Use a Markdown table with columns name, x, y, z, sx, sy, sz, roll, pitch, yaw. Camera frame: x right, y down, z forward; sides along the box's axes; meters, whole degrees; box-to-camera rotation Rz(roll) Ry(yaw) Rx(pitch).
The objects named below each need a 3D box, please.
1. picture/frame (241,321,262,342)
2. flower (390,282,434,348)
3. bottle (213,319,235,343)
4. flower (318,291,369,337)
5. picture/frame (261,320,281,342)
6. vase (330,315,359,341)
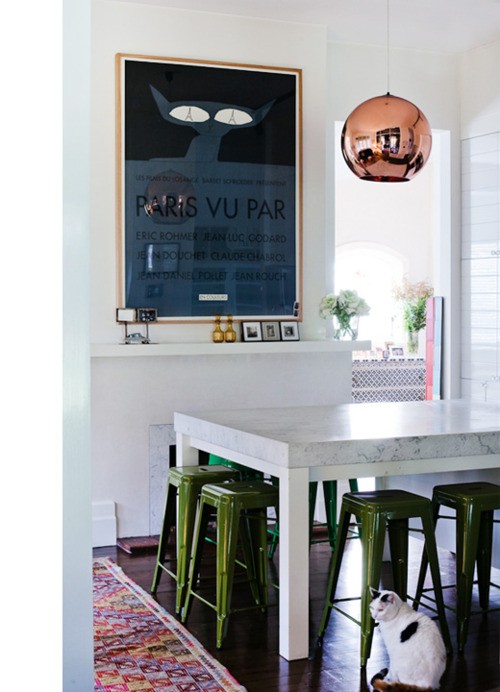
| name | x | y | z | sx | sy | sz | roll | pitch | yaw |
| --- | --- | --- | --- | --- | --- | --- | --- | --- | --- |
| picture/frame | 0.011 | -0.100 | 4.573 | 0.149 | 0.157 | 0.012 | 1 | -7 | -18 |
| flower | 2.474 | -0.462 | 9.454 | 0.457 | 1.097 | 0.853 | 0 | -3 | 6 |
| bottle | -0.191 | -0.101 | 4.486 | 0.173 | 0.176 | 0.088 | 0 | -1 | -27 |
| flower | 0.715 | -0.225 | 4.787 | 0.347 | 0.360 | 0.358 | 0 | 1 | 34 |
| picture/frame | 0.157 | -0.101 | 4.605 | 0.142 | 0.143 | 0.035 | -4 | -5 | -18 |
| vase | 0.743 | -0.137 | 4.885 | 0.182 | 0.193 | 0.196 | 0 | -1 | -29 |
